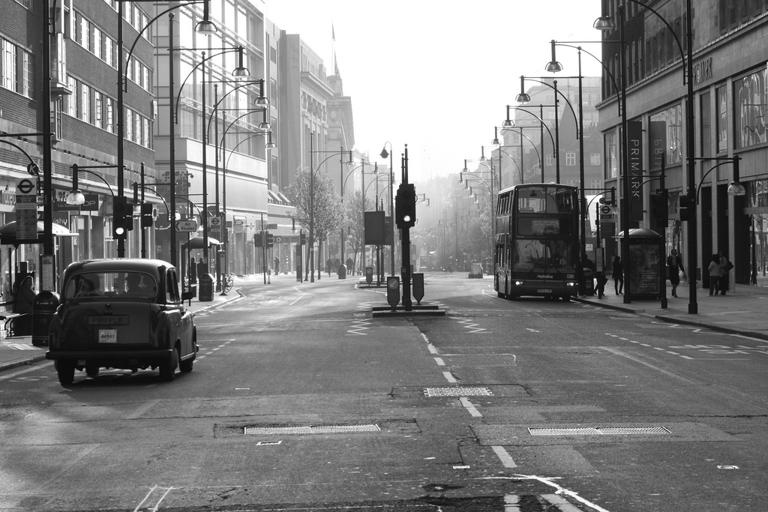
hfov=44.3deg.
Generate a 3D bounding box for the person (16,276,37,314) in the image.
[{"bbox_3d":[-11.545,1.240,30.231,0.651,1.231,0.420,-3,-1,-3],"label":"person"}]

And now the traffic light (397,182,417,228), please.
[{"bbox_3d":[0.814,-2.040,37.560,0.776,1.511,0.959,-3,-1,0],"label":"traffic light"}]

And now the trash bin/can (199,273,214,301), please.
[{"bbox_3d":[-9.661,1.699,51.014,0.716,1.106,1.214,-3,-2,-8],"label":"trash bin/can"}]

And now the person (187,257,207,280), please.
[{"bbox_3d":[-11.327,0.777,56.914,1.064,2.006,1.416,1,1,-8],"label":"person"}]
